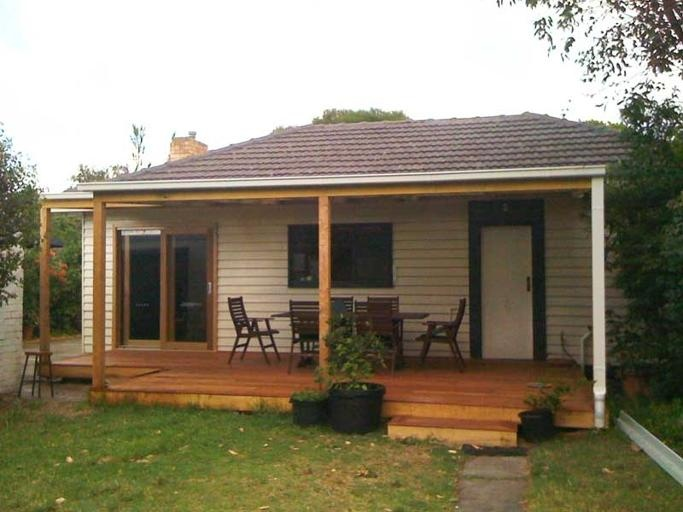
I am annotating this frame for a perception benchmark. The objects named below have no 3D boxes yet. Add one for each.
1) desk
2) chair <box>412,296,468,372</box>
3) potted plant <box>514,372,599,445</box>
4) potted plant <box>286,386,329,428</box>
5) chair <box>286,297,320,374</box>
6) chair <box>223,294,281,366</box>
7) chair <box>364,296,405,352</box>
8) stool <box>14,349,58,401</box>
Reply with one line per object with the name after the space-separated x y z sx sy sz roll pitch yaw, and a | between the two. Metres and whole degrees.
0.129 1.407 13.247 2.741 1.062 0.961 1 12 2 | desk
1.797 1.364 13.409 0.864 1.214 0.866 1 0 14 | chair
3.268 2.187 11.211 1.069 0.732 1.583 2 13 18 | potted plant
-0.488 2.292 11.269 0.484 0.360 0.511 0 -7 -6 | potted plant
-0.563 1.334 13.047 0.719 1.134 0.786 -1 1 19 | chair
-1.637 1.357 13.860 0.923 1.197 0.904 1 2 31 | chair
0.669 1.246 12.712 0.600 1.001 0.730 1 -10 2 | chair
-5.656 2.194 13.628 0.617 1.147 0.619 -3 -12 16 | stool
